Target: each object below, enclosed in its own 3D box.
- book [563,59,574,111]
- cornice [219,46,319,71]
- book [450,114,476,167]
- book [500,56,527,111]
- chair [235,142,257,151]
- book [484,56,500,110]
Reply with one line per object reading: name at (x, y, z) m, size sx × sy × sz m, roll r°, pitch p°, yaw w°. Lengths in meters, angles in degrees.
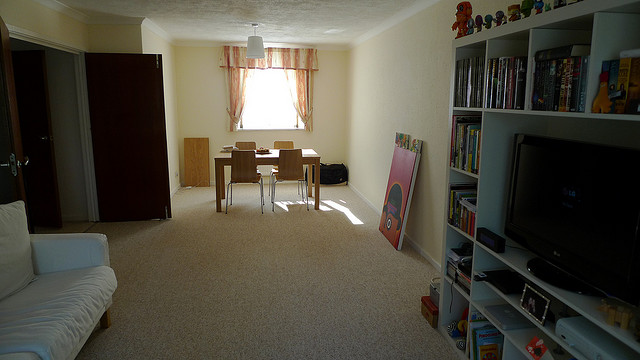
book at (1.897, -0.720, 3.109) m, size 0.047 × 0.378 × 0.084 m, roll 7°, pitch 16°, yaw 29°
cornice at (-1.120, -2.606, 8.690) m, size 2.214 × 0.498 × 0.235 m, roll 4°, pitch 10°, yaw 11°
book at (1.391, -0.379, 3.929) m, size 0.081 × 0.537 × 0.487 m, roll 3°, pitch 7°, yaw 15°
book at (1.650, -0.813, 3.475) m, size 0.198 × 0.444 × 0.143 m, roll 6°, pitch 15°, yaw 24°
chair at (-1.425, -0.665, 7.797) m, size 0.348 × 0.315 × 0.245 m, roll 0°, pitch 7°, yaw -2°
book at (1.522, -0.853, 3.623) m, size 0.084 × 0.449 × 0.154 m, roll -4°, pitch 14°, yaw -14°
